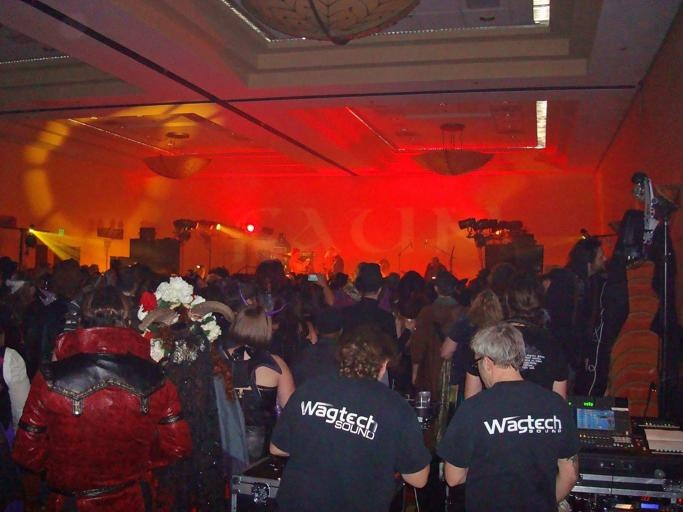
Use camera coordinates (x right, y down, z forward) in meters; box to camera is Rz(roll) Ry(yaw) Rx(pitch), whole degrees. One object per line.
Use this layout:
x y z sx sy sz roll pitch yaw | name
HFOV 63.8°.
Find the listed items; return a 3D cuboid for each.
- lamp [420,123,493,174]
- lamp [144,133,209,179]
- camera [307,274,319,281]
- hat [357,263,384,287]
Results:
2.068 -1.820 9.983 1.148 0.674 1.146 0 3 -11 | lamp
-3.144 -1.904 10.891 1.267 0.850 1.296 0 -4 22 | lamp
-0.398 0.303 7.711 0.195 0.136 0.106 0 0 -1 | camera
0.288 0.198 5.475 0.229 0.232 0.221 4 -13 -5 | hat
